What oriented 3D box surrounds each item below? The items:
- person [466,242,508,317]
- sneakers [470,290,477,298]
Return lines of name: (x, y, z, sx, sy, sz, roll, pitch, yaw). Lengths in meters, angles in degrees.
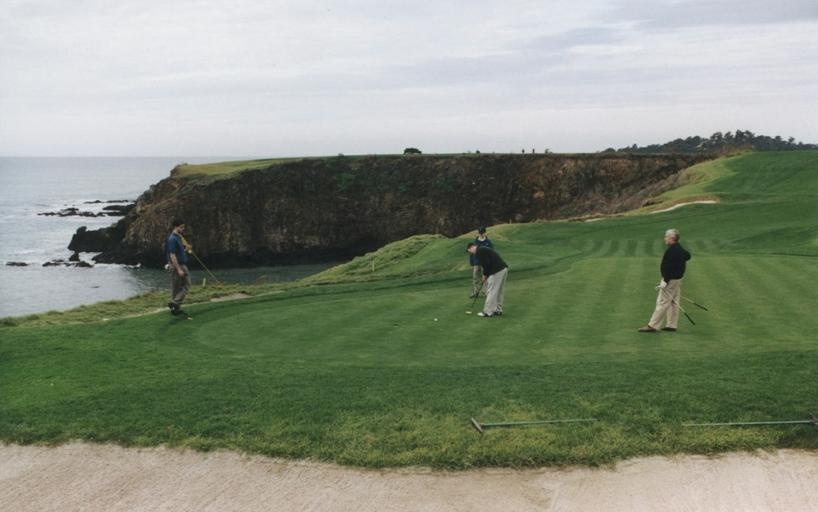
person: (2.699, 0.802, 23.243, 1.137, 2.388, 1.472, -3, 8, -3)
sneakers: (2.427, 1.467, 25.636, 0.219, 0.239, 0.609, -1, -8, 7)
